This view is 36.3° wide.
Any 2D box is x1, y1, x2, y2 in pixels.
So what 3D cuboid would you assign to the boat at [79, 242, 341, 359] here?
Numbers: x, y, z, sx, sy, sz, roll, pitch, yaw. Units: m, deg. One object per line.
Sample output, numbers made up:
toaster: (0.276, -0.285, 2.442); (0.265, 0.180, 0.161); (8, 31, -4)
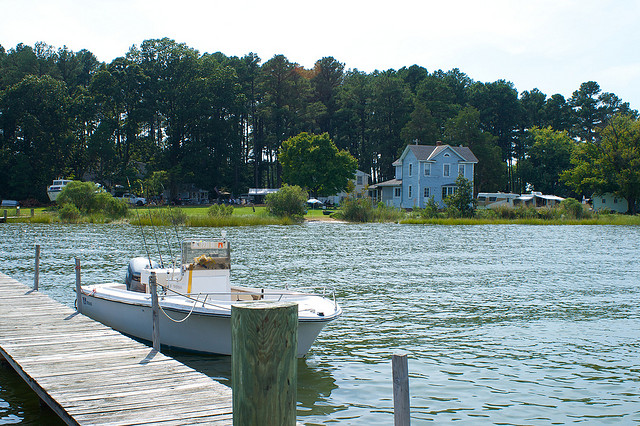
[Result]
boat: (-8.828, 6.321, 75.598); (22.059, 8.662, 10.450); (6, 3, 35)
